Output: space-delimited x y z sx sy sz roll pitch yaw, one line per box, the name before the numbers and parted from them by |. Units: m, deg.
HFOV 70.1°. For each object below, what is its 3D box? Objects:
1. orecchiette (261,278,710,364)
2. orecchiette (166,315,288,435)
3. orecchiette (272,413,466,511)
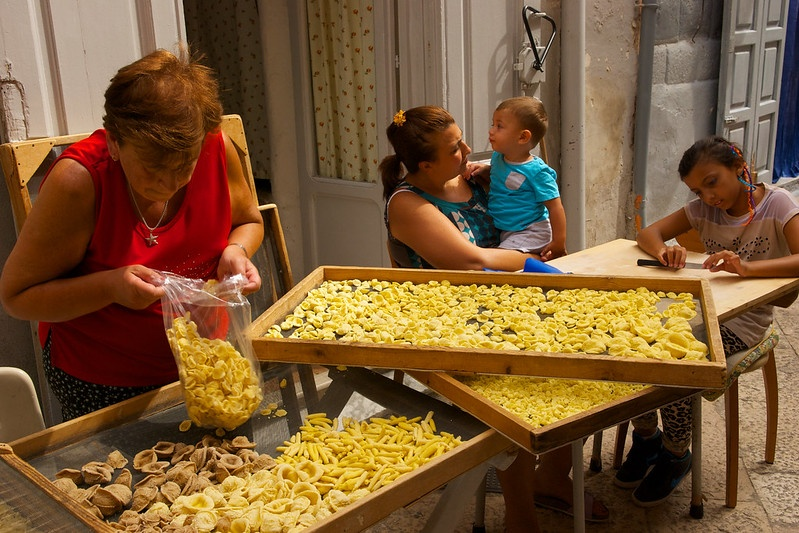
orecchiette | 0.250 0.169 2.066 1.555 0.066 0.735 0 19 22
orecchiette | -0.554 0.358 1.779 0.248 0.342 0.159 -35 -8 -20
orecchiette | -0.112 0.526 1.612 0.282 0.053 0.269 6 28 34
